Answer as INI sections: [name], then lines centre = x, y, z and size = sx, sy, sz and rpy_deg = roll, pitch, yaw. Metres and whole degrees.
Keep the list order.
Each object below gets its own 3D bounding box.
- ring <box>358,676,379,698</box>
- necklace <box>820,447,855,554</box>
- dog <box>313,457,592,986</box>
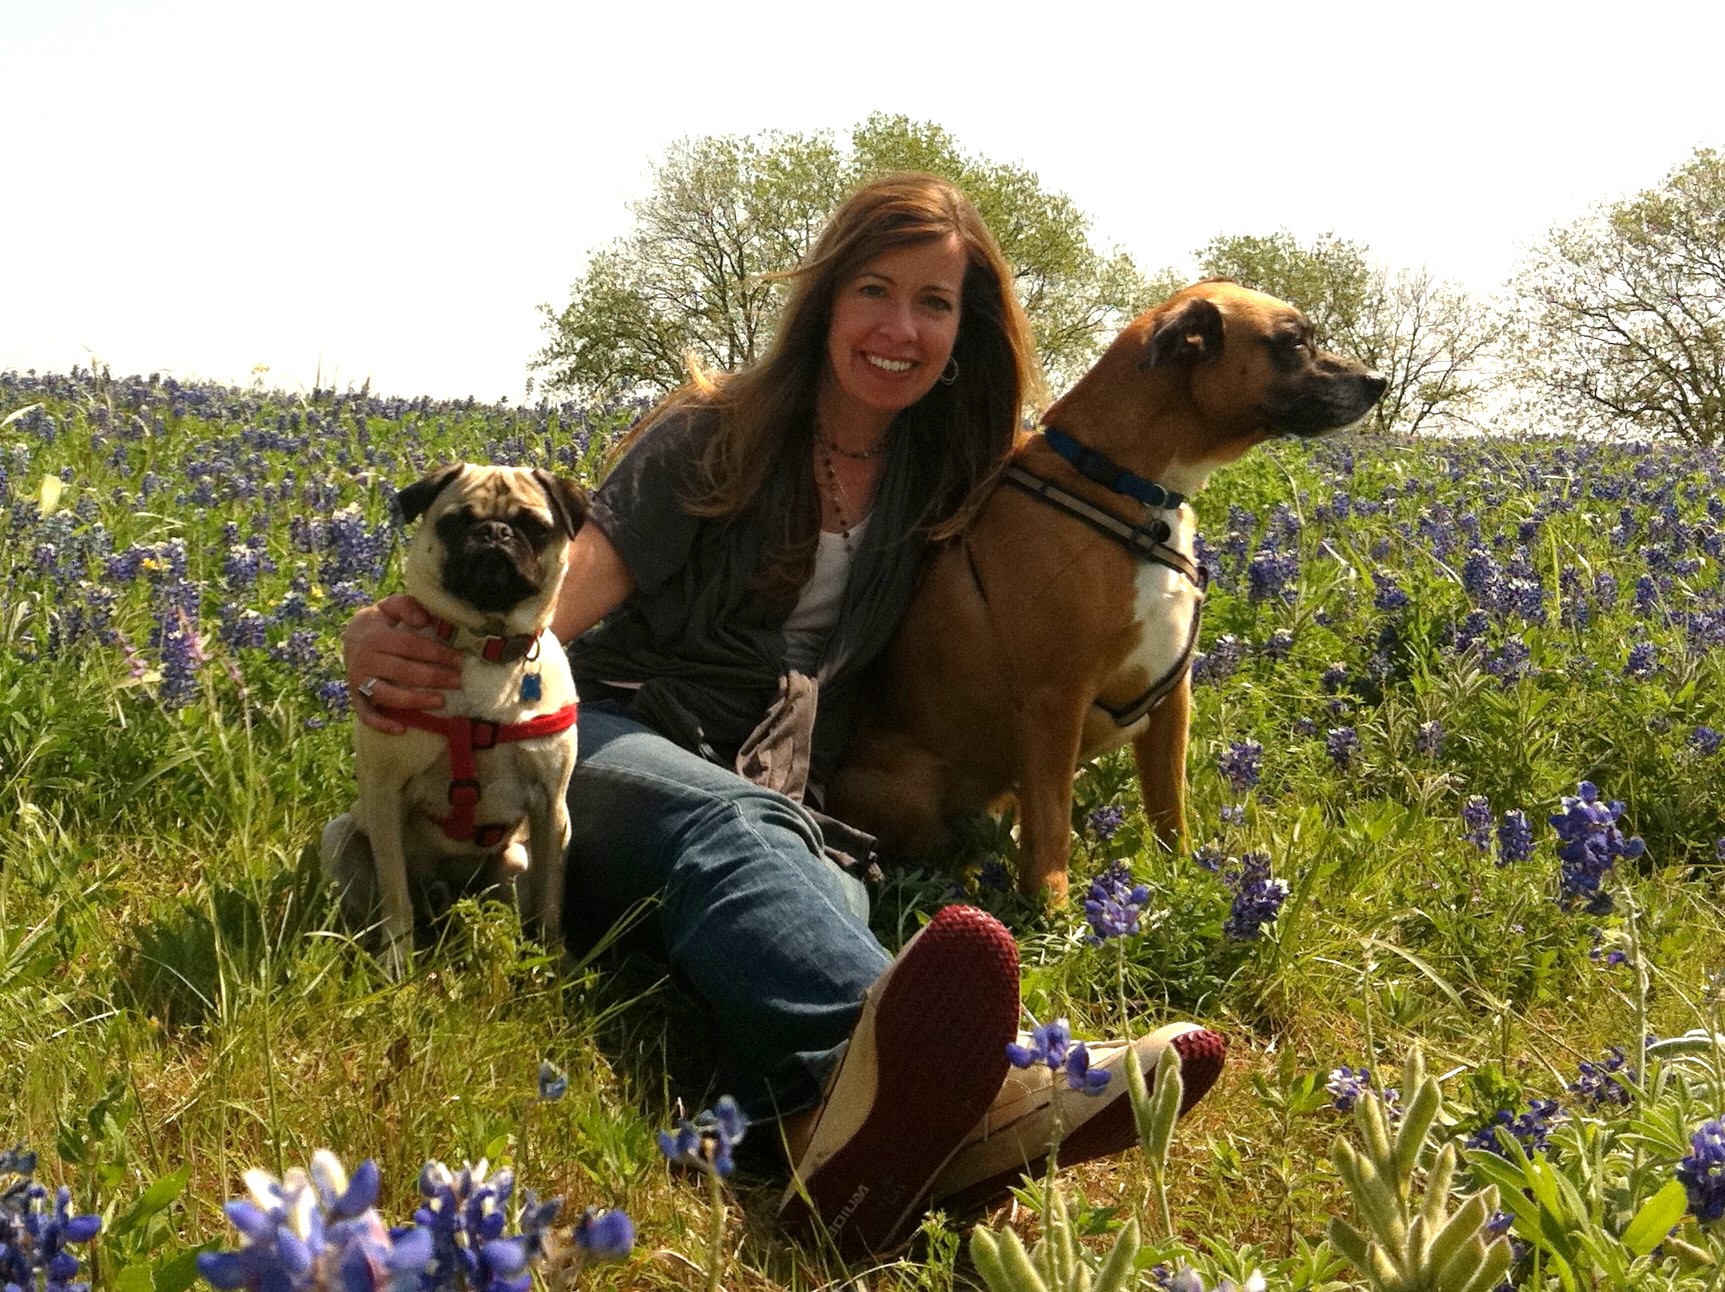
[ring]
centre = -1.295, 0.107, 3.570
size = 0.041, 0.036, 0.056
rpy_deg = 15, -50, -25
[necklace]
centre = -0.096, -0.522, 4.634
size = 0.054, 0.544, 0.057
rpy_deg = -15, -21, 19
[dog]
centre = -1.090, 0.162, 3.761
size = 0.638, 1.185, 0.563
rpy_deg = 7, -5, 28
